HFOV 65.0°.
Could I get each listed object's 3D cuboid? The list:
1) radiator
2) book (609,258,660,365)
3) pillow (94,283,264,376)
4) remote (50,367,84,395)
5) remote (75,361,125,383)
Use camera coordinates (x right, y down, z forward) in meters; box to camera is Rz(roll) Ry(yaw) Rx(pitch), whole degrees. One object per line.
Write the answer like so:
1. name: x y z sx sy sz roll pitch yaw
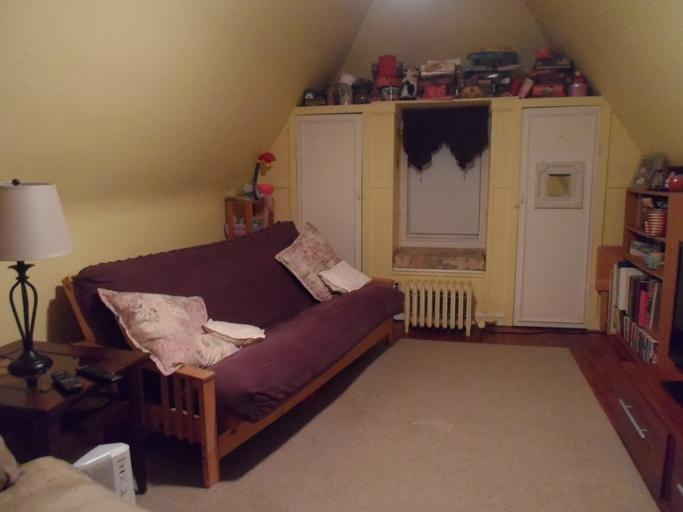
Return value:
1. radiator: 0.867 0.448 4.877 0.530 0.436 0.527 2 2 15
2. book: 2.355 0.441 4.272 0.230 0.719 0.625 -6 13 1
3. pillow: -0.909 0.384 3.124 0.842 0.431 0.562 -8 13 -34
4. remote: -1.316 0.592 2.563 0.163 0.048 0.087 19 20 39
5. remote: -1.201 0.578 2.661 0.246 0.029 0.124 16 14 18
